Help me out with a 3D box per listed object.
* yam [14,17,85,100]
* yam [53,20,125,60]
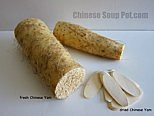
[{"bbox_3d":[-0.170,-0.029,1.022,0.237,0.365,0.498,-21,30,-33],"label":"yam"},{"bbox_3d":[0.071,-0.117,1.203,0.587,0.209,0.188,20,44,16],"label":"yam"}]
